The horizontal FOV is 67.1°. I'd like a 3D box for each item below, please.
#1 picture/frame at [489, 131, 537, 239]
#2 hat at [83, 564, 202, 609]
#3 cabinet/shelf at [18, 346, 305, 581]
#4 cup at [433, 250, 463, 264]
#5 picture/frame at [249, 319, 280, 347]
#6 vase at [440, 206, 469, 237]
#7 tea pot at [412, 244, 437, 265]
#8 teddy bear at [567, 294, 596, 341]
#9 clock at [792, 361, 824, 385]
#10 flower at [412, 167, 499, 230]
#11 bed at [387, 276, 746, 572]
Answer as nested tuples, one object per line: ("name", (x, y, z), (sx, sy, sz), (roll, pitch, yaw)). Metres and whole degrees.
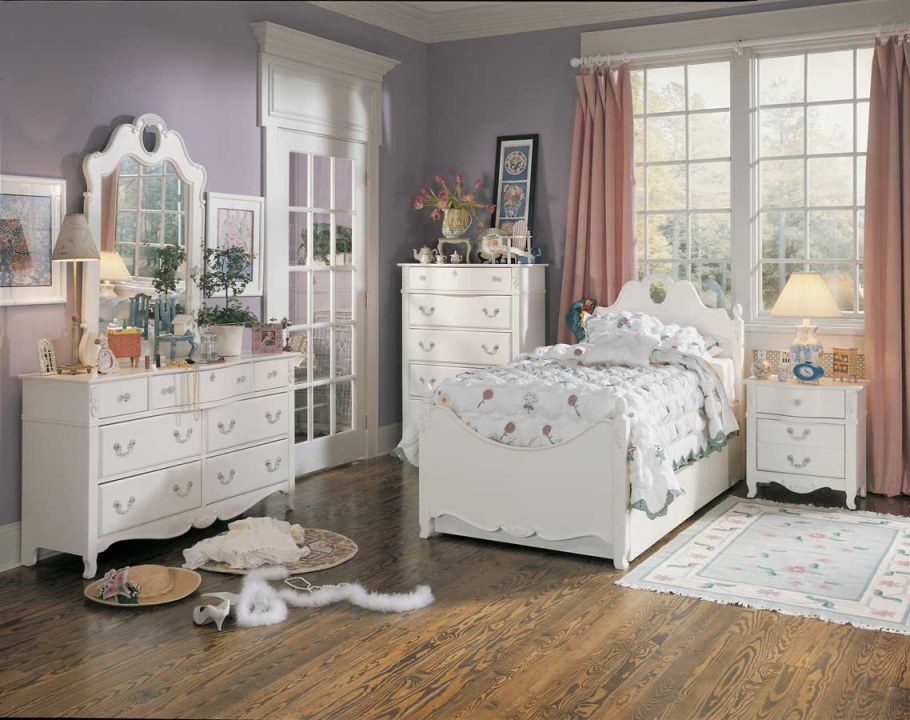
("picture/frame", (0.473, -1.406, 5.506), (0.379, 0.783, 0.225), (1, 7, 14))
("hat", (-1.352, 0.960, 2.986), (0.458, 0.138, 0.330), (-4, 8, -29))
("cabinet/shelf", (-1.481, 0.483, 3.581), (0.408, 0.912, 1.283), (5, 9, 40))
("cup", (-0.058, -0.813, 5.529), (0.242, 0.110, 0.111), (0, -2, 2))
("picture/frame", (-1.108, -0.135, 4.152), (0.236, 0.215, 0.132), (1, 2, 2))
("vase", (0.037, -1.100, 5.589), (0.185, 0.236, 0.340), (3, 8, 30))
("tea pot", (-0.211, -0.838, 5.533), (0.235, 0.160, 0.144), (2, -3, -20))
("teddy bear", (0.943, -0.324, 5.195), (0.116, 0.301, 0.231), (1, 4, -44))
("clock", (2.204, 0.080, 4.292), (0.138, 0.098, 0.140), (1, 1, 36))
("flower", (-0.035, -1.285, 5.650), (0.532, 0.248, 0.513), (-6, 12, -32))
("bed", (0.804, 0.275, 4.267), (1.292, 1.386, 2.032), (1, 3, 32))
